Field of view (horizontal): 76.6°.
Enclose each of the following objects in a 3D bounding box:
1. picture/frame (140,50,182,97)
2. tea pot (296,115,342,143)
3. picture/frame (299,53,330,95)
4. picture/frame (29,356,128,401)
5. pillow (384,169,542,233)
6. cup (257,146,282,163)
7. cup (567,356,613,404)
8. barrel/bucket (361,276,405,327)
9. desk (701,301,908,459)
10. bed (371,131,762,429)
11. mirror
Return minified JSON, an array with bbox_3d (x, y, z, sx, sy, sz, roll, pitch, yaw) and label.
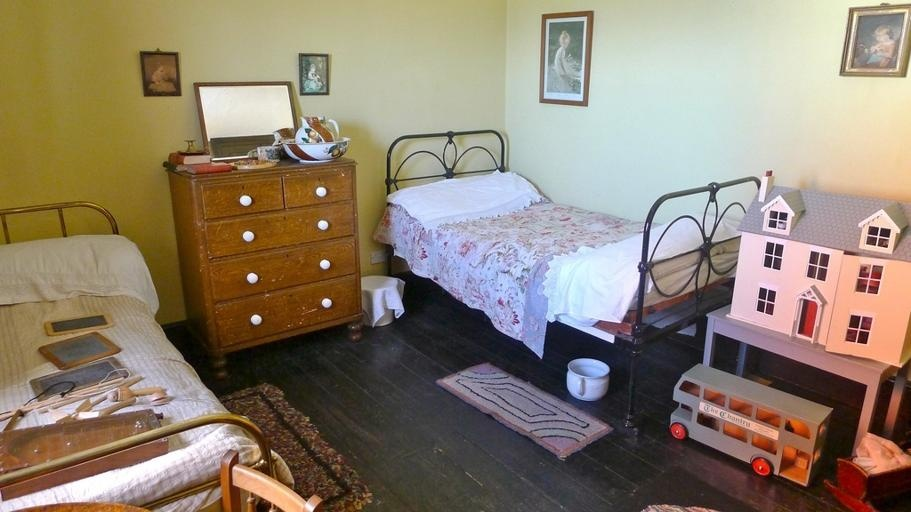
[{"bbox_3d":[-2.348,-1.473,4.572,0.392,0.401,0.045,-8,22,-33],"label":"picture/frame"},{"bbox_3d":[-1.129,-1.043,4.798,0.351,0.237,0.272,0,0,-43],"label":"tea pot"},{"bbox_3d":[-1.245,-1.621,5.051,0.391,0.407,0.032,-10,24,-34],"label":"picture/frame"},{"bbox_3d":[-2.204,0.726,3.372,0.468,0.041,0.250,-17,25,-35],"label":"picture/frame"},{"bbox_3d":[0.174,-0.551,5.377,1.070,0.161,0.669,-10,31,-22],"label":"pillow"},{"bbox_3d":[-1.487,-0.827,4.626,0.171,0.097,0.174,1,9,0],"label":"cup"},{"bbox_3d":[0.972,0.930,4.292,0.396,0.199,0.297,-19,26,-40],"label":"cup"},{"bbox_3d":[-0.668,0.375,5.170,0.447,0.264,0.417,0,16,0],"label":"barrel/bucket"},{"bbox_3d":[2.340,0.829,3.813,0.548,0.644,0.978,-4,18,-41],"label":"desk"},{"bbox_3d":[0.553,-0.189,5.338,2.083,1.794,3.392,-11,17,-35],"label":"bed"},{"bbox_3d":[-1.776,-1.152,4.783,0.693,0.573,0.046,-14,5,-32],"label":"mirror"}]
